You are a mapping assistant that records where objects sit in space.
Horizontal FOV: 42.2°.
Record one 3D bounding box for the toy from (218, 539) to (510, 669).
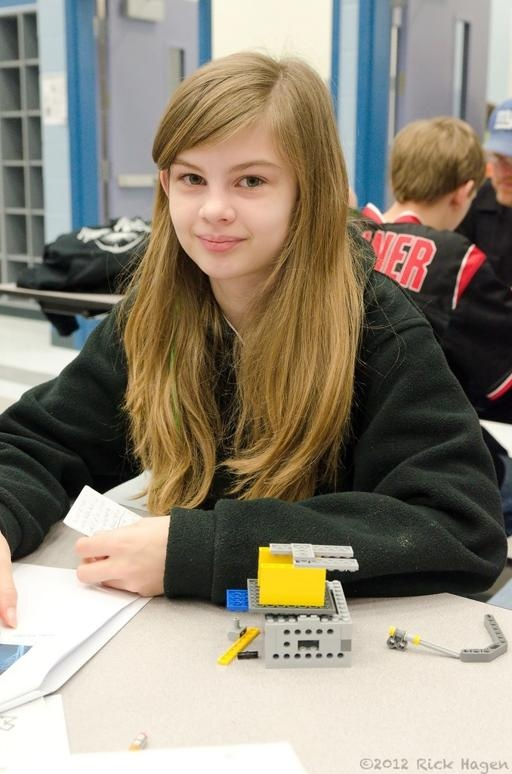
[{"bbox_3d":[0.094,0.188,0.623,0.236,0.087,0.110,0,13,-1],"label":"toy"}]
